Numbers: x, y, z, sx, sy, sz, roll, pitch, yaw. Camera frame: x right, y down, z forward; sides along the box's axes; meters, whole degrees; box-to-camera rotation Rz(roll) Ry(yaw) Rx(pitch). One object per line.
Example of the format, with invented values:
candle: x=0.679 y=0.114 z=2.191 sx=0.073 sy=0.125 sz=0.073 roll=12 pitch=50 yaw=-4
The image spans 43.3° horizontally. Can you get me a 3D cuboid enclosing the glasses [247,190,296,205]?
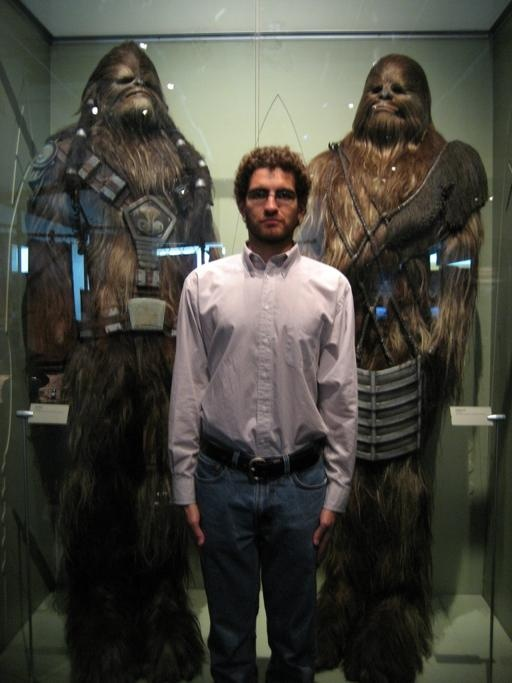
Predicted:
glasses: x=0.039 y=-0.390 z=1.730 sx=0.124 sy=0.030 sz=0.025 roll=2 pitch=2 yaw=4

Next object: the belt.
belt: x=0.010 y=0.319 z=1.745 sx=0.326 sy=0.101 sz=0.097 roll=2 pitch=2 yaw=0
